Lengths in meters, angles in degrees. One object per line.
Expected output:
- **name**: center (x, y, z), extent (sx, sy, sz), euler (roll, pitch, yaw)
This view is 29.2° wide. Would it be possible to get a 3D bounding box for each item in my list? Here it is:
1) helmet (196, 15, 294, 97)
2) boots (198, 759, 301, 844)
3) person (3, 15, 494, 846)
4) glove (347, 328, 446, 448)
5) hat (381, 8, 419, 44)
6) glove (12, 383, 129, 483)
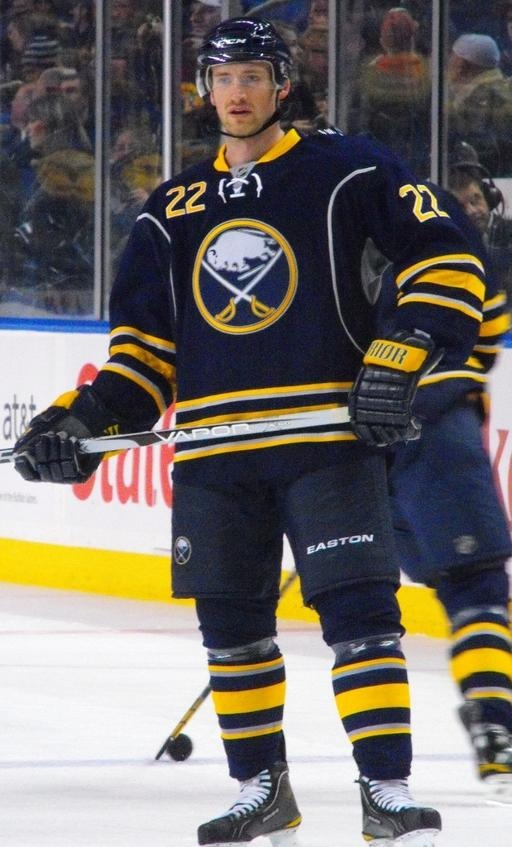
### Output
- **helmet**: center (-0.026, -0.625, 1.724), extent (0.181, 0.180, 0.208), euler (-3, 21, 4)
- **boots**: center (-0.013, 0.636, 1.653), extent (0.221, 0.138, 0.076), euler (1, -14, -37)
- **person**: center (-0.003, -0.001, 1.633), extent (0.746, 1.406, 0.278), euler (-3, -3, 32)
- **glove**: center (0.213, -0.047, 1.484), extent (0.126, 0.166, 0.078), euler (17, -5, 16)
- **hat**: center (0.621, -1.763, 4.410), extent (0.137, 0.178, 0.185), euler (-5, 1, 1)
- **glove**: center (-0.322, 0.031, 1.804), extent (0.148, 0.088, 0.193), euler (27, 63, 24)
